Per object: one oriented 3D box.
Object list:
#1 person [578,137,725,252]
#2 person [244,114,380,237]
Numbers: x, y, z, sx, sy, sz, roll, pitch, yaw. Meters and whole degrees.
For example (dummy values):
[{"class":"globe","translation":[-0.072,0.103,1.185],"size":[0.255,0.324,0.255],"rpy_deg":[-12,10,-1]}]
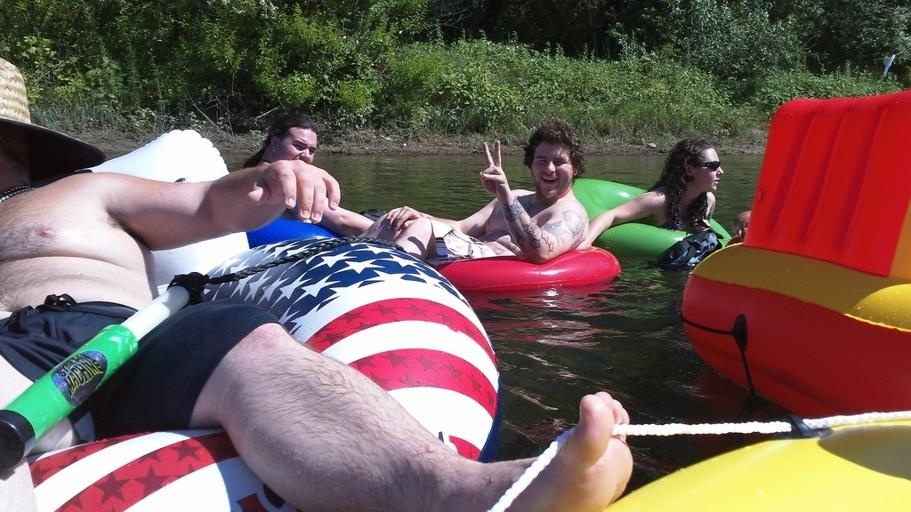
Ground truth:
[{"class":"person","translation":[1.555,-0.495,6.089],"size":[1.497,0.939,1.459],"rpy_deg":[0,1,5]},{"class":"person","translation":[-1.134,-0.620,5.016],"size":[1.100,0.550,0.793],"rpy_deg":[16,10,40]}]
